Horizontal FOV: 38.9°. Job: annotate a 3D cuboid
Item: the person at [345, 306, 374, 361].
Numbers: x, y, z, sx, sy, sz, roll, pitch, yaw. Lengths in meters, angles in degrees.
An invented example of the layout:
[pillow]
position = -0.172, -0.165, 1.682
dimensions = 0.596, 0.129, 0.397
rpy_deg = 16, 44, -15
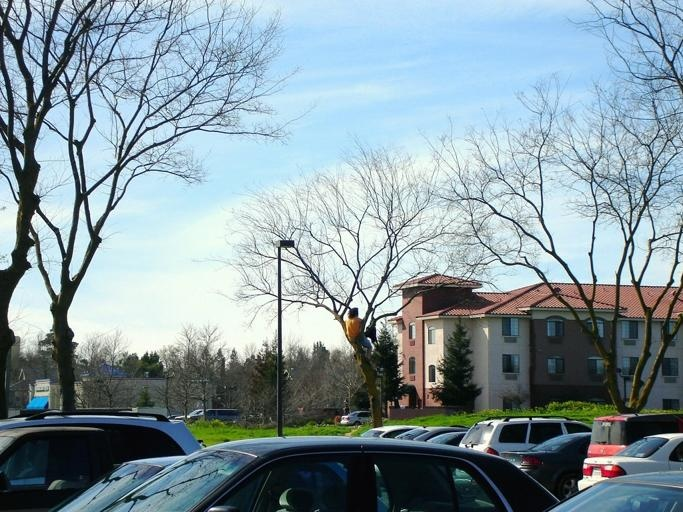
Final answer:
[person]
position = 0.583, 2.741, 33.557
dimensions = 0.763, 2.077, 0.709
rpy_deg = -14, 15, -16
